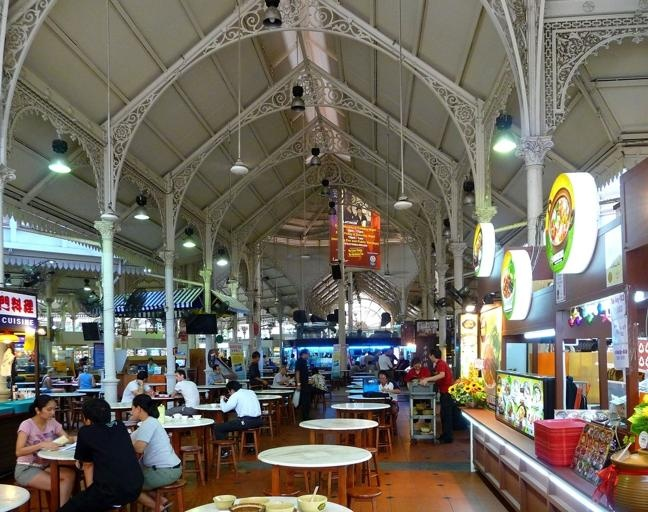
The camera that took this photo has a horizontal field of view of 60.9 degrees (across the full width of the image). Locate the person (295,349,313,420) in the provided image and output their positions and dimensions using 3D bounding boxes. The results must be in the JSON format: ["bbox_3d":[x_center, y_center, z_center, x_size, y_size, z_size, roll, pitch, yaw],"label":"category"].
[{"bbox_3d":[-0.538,3.420,14.671,0.352,1.978,0.580,-6,-11,23],"label":"person"}]

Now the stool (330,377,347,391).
[{"bbox_3d":[0.644,5.451,23.495,0.656,0.530,1.592,-2,-13,1],"label":"stool"}]

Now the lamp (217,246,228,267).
[{"bbox_3d":[-3.827,-0.028,20.589,0.508,0.684,0.582,0,-10,-4],"label":"lamp"}]

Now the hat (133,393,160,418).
[{"bbox_3d":[-2.198,1.822,6.690,0.302,0.289,0.219,-13,-12,36],"label":"hat"}]

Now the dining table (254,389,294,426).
[{"bbox_3d":[-1.261,3.669,13.541,1.022,1.230,1.175,-1,-8,2],"label":"dining table"}]

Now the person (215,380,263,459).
[{"bbox_3d":[-1.516,2.757,9.625,0.657,1.313,0.666,-2,13,-4],"label":"person"}]

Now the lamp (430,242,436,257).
[{"bbox_3d":[4.238,-0.245,21.371,0.107,0.562,0.579,-5,-12,19],"label":"lamp"}]

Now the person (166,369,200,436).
[{"bbox_3d":[-2.607,2.704,10.162,0.529,1.253,0.413,1,-4,15],"label":"person"}]

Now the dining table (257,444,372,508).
[{"bbox_3d":[-0.100,2.337,5.773,1.137,0.591,1.102,0,-13,-8],"label":"dining table"}]

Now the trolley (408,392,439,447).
[{"bbox_3d":[2.013,3.294,11.229,0.510,0.982,0.949,-3,-12,8],"label":"trolley"}]

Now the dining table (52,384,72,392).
[{"bbox_3d":[-7.736,3.887,16.309,0.541,0.314,2.562,4,-15,-26],"label":"dining table"}]

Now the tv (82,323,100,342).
[{"bbox_3d":[-8.525,2.738,20.143,0.644,0.606,0.604,4,-13,-26],"label":"tv"}]

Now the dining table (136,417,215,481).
[{"bbox_3d":[-2.034,2.877,8.493,0.879,0.843,1.006,-2,-6,-3],"label":"dining table"}]

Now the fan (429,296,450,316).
[{"bbox_3d":[3.408,1.399,16.058,0.353,0.610,1.722,-3,-13,9],"label":"fan"}]

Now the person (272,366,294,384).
[{"bbox_3d":[-1.134,3.316,15.206,0.521,0.537,1.014,-1,-13,-3],"label":"person"}]

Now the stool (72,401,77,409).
[{"bbox_3d":[-6.680,3.978,14.679,0.171,0.152,0.144,-11,-16,43],"label":"stool"}]

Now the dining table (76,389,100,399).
[{"bbox_3d":[-6.005,3.518,13.998,0.484,0.284,1.169,4,-15,-26],"label":"dining table"}]

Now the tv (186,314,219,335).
[{"bbox_3d":[-3.643,2.010,16.312,0.657,0.563,0.098,2,-15,-21],"label":"tv"}]

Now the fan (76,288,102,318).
[{"bbox_3d":[-10.782,2.234,25.262,0.729,1.581,4.322,4,-15,-28],"label":"fan"}]

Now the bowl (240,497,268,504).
[{"bbox_3d":[-0.529,1.853,4.171,0.235,0.039,0.190,-5,-14,11],"label":"bowl"}]

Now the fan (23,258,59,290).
[{"bbox_3d":[-10.513,0.675,20.371,1.082,0.958,3.539,5,-15,-28],"label":"fan"}]

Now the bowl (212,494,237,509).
[{"bbox_3d":[-0.748,1.856,4.127,0.159,0.097,0.259,0,-14,-9],"label":"bowl"}]

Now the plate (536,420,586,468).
[{"bbox_3d":[2.243,1.776,5.271,0.344,0.287,0.389,-4,-7,17],"label":"plate"}]

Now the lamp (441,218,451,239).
[{"bbox_3d":[4.094,-0.932,18.444,0.173,0.676,0.922,-4,-13,17],"label":"lamp"}]

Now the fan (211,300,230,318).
[{"bbox_3d":[-3.245,1.627,17.388,0.399,0.373,0.713,-5,-13,14],"label":"fan"}]

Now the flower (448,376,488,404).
[{"bbox_3d":[2.439,2.300,9.347,0.418,0.373,0.480,0,1,8],"label":"flower"}]
